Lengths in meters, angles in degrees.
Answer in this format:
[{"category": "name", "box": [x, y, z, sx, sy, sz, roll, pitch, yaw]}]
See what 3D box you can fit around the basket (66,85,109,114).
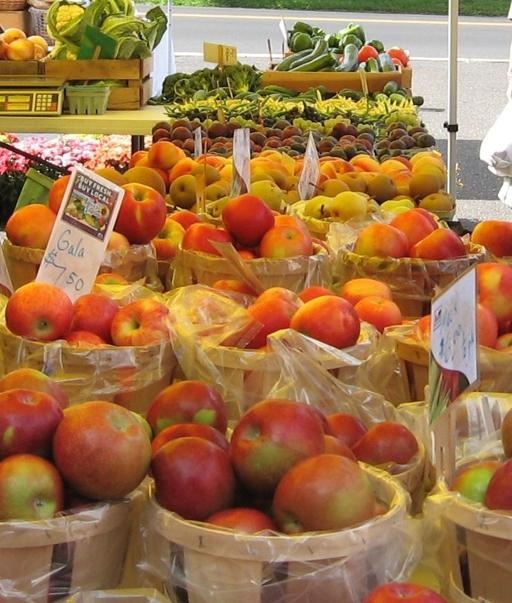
[{"category": "basket", "box": [-1.554, -1.836, 4.474, 0.371, 0.213, 0.260, 2, 18, 0]}]
